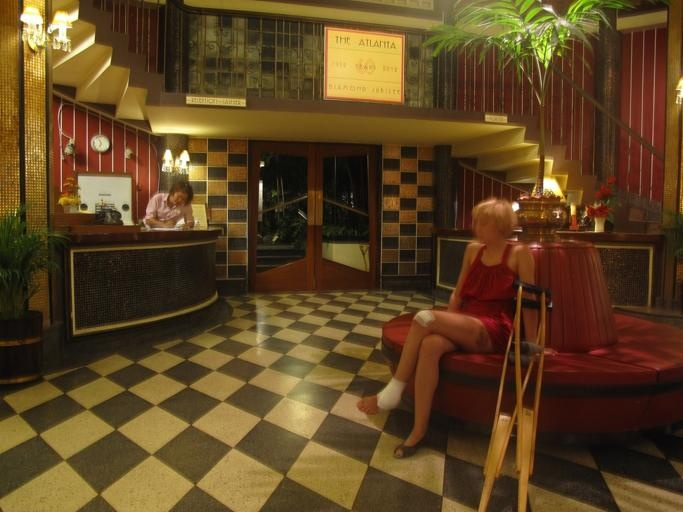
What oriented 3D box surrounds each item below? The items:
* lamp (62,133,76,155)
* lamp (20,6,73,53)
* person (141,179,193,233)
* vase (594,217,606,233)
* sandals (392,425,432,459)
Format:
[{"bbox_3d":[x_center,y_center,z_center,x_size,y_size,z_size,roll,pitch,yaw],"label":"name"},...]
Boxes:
[{"bbox_3d":[-3.898,-1.567,7.688,0.155,0.258,0.096,-3,6,-29],"label":"lamp"},{"bbox_3d":[-2.734,-2.097,4.969,0.243,0.457,0.505,1,6,14],"label":"lamp"},{"bbox_3d":[-2.193,-0.649,6.835,0.594,0.564,0.893,-2,6,-17],"label":"person"},{"bbox_3d":[3.431,-0.413,7.139,0.156,0.233,0.186,-4,6,-25],"label":"vase"},{"bbox_3d":[0.507,1.322,3.818,0.326,0.096,0.116,-35,22,-36],"label":"sandals"}]
